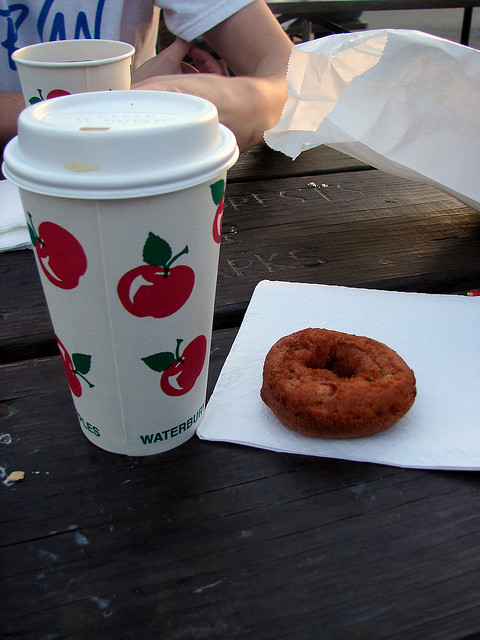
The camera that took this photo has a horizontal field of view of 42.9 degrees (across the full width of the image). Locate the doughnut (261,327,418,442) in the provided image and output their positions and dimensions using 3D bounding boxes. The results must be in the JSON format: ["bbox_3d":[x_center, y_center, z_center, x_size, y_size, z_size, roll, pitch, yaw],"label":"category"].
[{"bbox_3d":[0.094,0.057,0.617,0.141,0.045,0.149,-28,48,-32],"label":"doughnut"}]
